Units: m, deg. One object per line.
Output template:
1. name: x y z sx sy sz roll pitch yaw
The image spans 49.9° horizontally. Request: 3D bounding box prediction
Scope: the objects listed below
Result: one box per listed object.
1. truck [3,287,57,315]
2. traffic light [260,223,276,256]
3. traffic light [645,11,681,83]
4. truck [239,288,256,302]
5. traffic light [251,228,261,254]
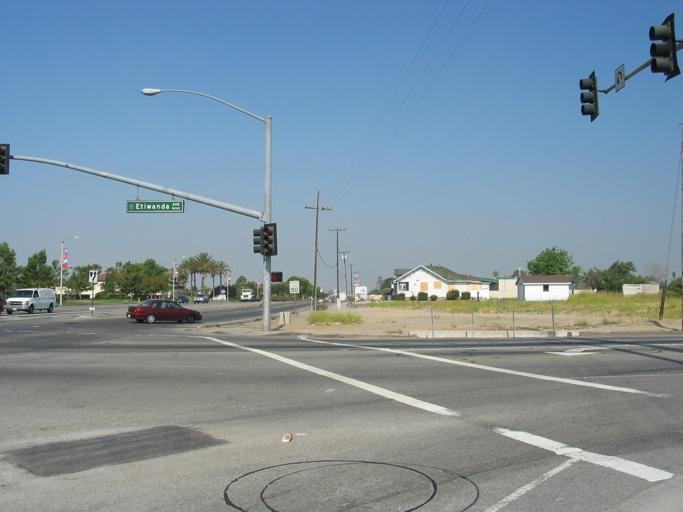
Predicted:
1. truck: -23.540 3.243 55.228 1.990 1.549 3.706 -2 -8 4
2. traffic light: -3.176 -0.756 31.802 0.636 1.390 0.292 0 -1 3
3. traffic light: 7.112 -4.619 16.140 0.567 1.470 0.846 0 -1 25
4. truck: -15.574 6.278 120.172 2.332 2.172 3.911 0 -3 -5
5. traffic light: -3.641 -0.682 31.829 0.257 1.016 0.534 1 -1 -30
